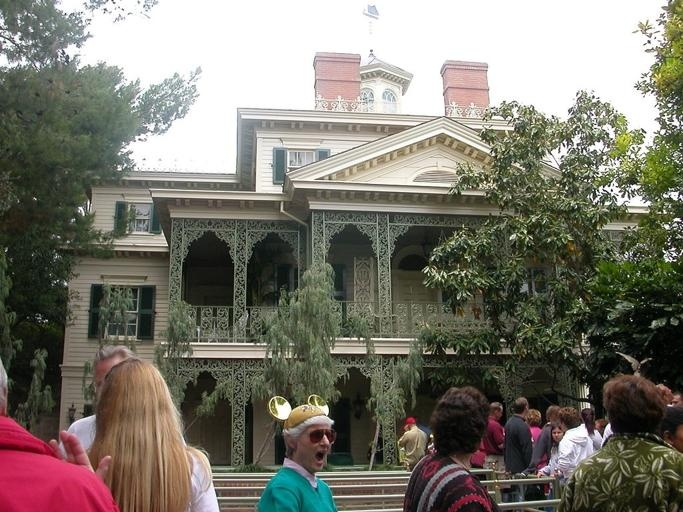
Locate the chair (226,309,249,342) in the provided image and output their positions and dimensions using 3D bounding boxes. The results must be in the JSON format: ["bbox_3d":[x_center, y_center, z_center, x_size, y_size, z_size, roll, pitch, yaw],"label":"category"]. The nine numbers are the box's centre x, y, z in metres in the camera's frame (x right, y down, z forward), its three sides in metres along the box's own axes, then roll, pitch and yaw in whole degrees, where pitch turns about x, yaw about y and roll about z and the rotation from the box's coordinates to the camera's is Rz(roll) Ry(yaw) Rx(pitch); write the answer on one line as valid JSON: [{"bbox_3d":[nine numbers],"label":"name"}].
[{"bbox_3d":[-2.723,1.937,23.571,0.384,0.869,0.650,1,-10,-6],"label":"chair"}]

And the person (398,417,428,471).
[{"bbox_3d":[1.371,3.897,17.316,0.518,1.368,0.418,-9,17,-35],"label":"person"}]
